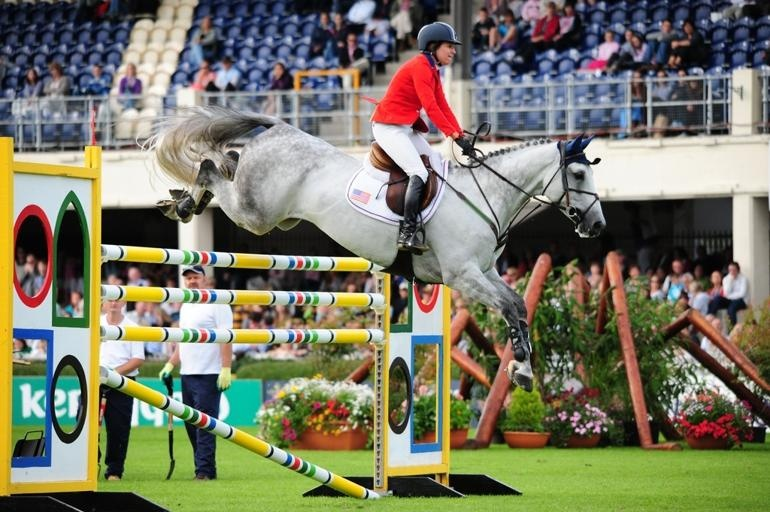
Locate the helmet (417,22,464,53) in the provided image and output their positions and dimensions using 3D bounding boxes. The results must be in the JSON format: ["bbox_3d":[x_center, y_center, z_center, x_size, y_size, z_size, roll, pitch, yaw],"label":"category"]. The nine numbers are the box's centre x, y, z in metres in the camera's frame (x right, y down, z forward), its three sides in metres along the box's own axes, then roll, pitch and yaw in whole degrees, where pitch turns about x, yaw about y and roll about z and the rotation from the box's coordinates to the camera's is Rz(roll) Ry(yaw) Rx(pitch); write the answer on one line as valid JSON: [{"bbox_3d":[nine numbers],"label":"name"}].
[{"bbox_3d":[0.697,-2.745,19.538,0.478,0.286,0.332,-6,7,9],"label":"helmet"}]

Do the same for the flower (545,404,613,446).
[{"bbox_3d":[2.971,2.516,23.603,0.747,0.427,0.731,-1,10,0],"label":"flower"}]

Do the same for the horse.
[{"bbox_3d":[-0.305,-0.537,19.722,6.167,2.968,1.199,16,12,20],"label":"horse"}]

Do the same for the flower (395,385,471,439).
[{"bbox_3d":[0.734,2.323,23.226,0.877,0.516,0.877,0,-3,-24],"label":"flower"}]

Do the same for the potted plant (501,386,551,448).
[{"bbox_3d":[2.118,2.489,24.030,0.866,1.086,0.860,-3,-7,15],"label":"potted plant"}]

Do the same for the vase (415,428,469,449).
[{"bbox_3d":[0.776,2.545,21.923,0.629,0.235,0.615,0,-5,-12],"label":"vase"}]

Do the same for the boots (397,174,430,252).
[{"bbox_3d":[0.363,-0.526,19.093,0.363,0.950,0.223,1,-1,0],"label":"boots"}]

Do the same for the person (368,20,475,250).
[{"bbox_3d":[0.417,-1.489,19.327,1.159,2.883,0.660,1,-1,-1],"label":"person"}]

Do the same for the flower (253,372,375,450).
[{"bbox_3d":[-0.799,2.559,23.597,1.717,1.057,1.267,4,2,2],"label":"flower"}]

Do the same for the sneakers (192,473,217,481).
[{"bbox_3d":[-2.393,2.924,20.668,0.273,0.121,0.091,12,-4,-11],"label":"sneakers"}]
